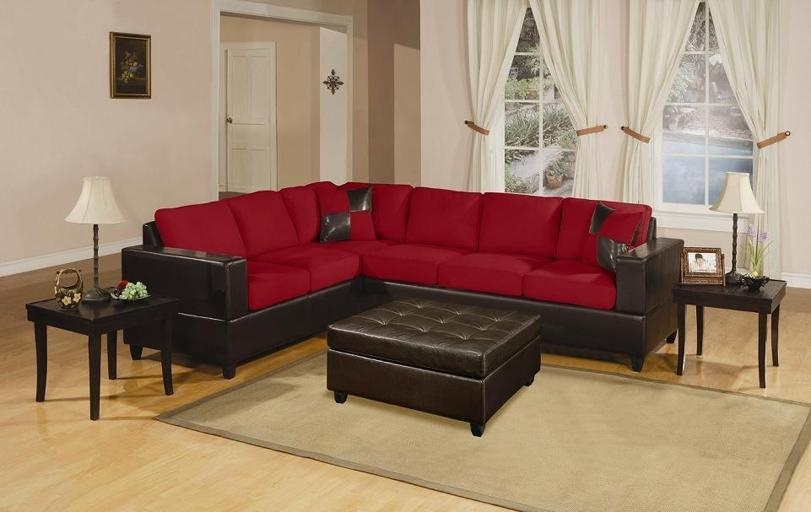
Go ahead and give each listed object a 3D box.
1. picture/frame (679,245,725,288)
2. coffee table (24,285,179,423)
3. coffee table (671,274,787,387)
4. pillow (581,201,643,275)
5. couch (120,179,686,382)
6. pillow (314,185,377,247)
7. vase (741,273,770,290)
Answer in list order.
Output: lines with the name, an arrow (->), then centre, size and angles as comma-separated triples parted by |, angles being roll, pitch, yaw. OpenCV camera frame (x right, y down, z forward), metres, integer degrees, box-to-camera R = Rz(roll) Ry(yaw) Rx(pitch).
picture/frame -> 2.276, 0.097, 4.763 | 0.348, 0.306, 0.043 | 0, -3, 7
coffee table -> -2.009, 0.574, 4.475 | 0.939, 0.861, 0.945 | 2, 5, 32
coffee table -> 2.510, 0.558, 4.819 | 0.718, 0.605, 0.616 | 3, 9, 33
pillow -> 1.717, -0.139, 5.152 | 0.170, 0.505, 0.533 | 7, 10, -34
couch -> 0.206, 0.113, 5.180 | 2.807, 1.028, 2.462 | 3, 8, 34
pillow -> -0.602, -0.395, 6.217 | 0.579, 0.506, 0.166 | -1, -8, -15
vase -> 2.678, 0.195, 4.695 | 0.217, 0.106, 0.188 | 1, 11, 3
